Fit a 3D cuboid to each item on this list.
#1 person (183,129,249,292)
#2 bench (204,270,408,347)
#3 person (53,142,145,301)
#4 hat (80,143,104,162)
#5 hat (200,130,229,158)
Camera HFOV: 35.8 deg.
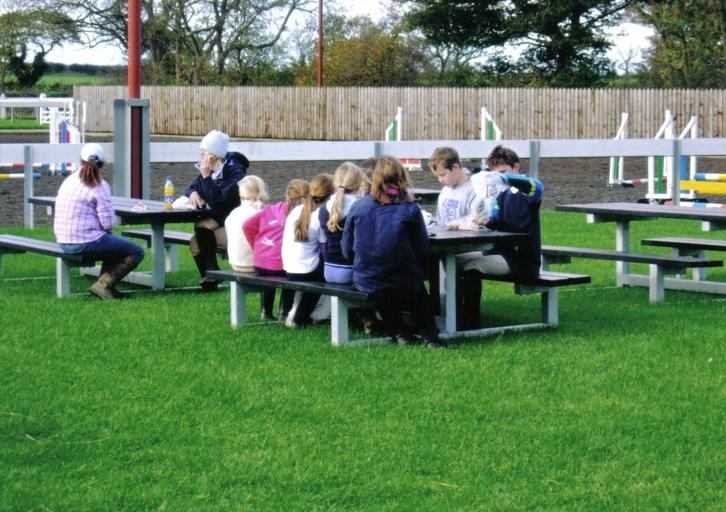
[{"bbox_3d":[-1.745,-0.498,12.897,0.657,1.826,0.884,2,-5,10],"label":"person"},{"bbox_3d":[-0.622,0.484,10.769,1.766,0.655,0.428,1,3,32],"label":"bench"},{"bbox_3d":[-2.845,-0.377,12.141,0.881,1.657,0.317,-2,3,-16],"label":"person"},{"bbox_3d":[-2.912,-1.117,12.205,0.200,0.165,0.285,1,5,-8],"label":"hat"},{"bbox_3d":[-1.682,-1.277,12.866,0.318,0.305,0.474,-2,3,-8],"label":"hat"}]
